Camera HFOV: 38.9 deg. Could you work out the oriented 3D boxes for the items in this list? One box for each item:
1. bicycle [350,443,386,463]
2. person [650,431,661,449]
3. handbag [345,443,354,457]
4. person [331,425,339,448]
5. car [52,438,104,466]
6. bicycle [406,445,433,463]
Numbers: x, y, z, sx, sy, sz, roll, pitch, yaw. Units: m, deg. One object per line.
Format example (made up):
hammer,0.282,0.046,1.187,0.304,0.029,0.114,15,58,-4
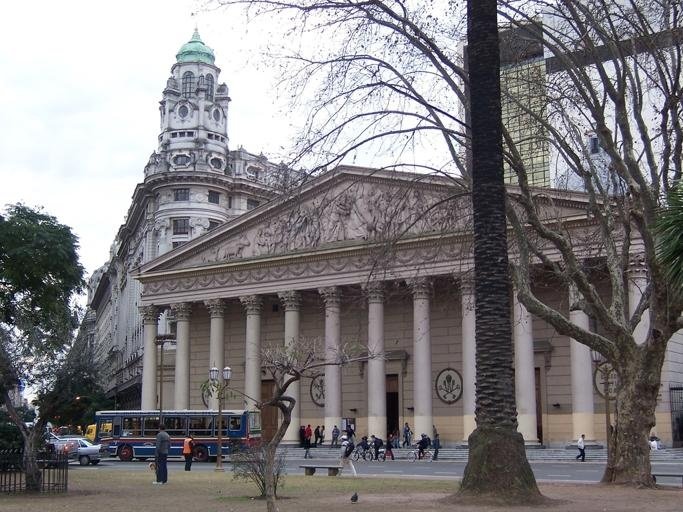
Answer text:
bicycle,1.412,10.202,49.693,1.913,1.197,0.973,-1,-8,5
person,15.048,8.713,45.414,0.505,0.908,2.127,-7,-16,17
handbag,0.344,7.635,38.047,0.268,0.501,0.589,-2,-15,-2
person,-0.259,9.916,53.087,0.396,1.048,0.932,-2,-15,-1
car,-14.456,10.631,52.474,2.025,1.840,4.730,5,-17,-27
bicycle,4.006,9.874,47.829,1.331,0.704,1.555,-4,-15,5
